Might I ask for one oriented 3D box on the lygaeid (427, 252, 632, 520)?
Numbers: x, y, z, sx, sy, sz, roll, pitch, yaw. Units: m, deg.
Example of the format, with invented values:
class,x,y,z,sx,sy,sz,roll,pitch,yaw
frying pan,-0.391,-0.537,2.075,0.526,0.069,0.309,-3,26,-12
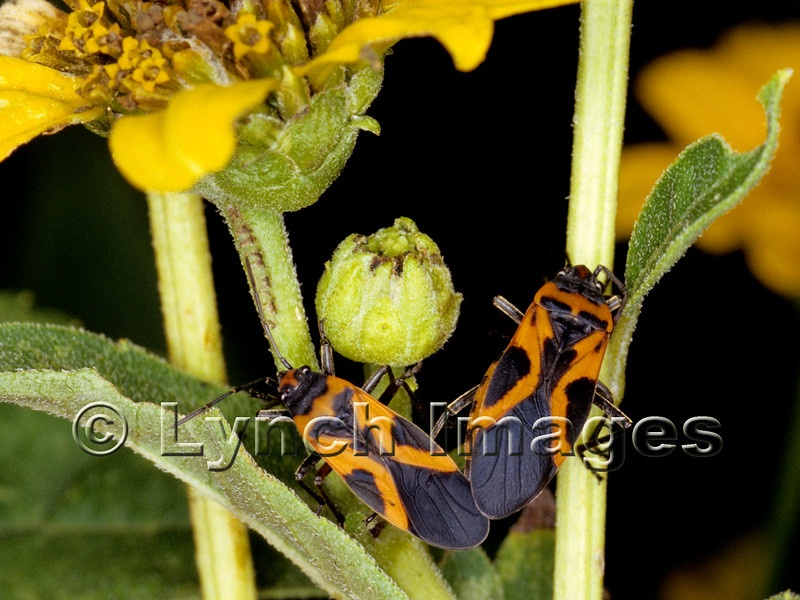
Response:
class,x,y,z,sx,sy,sz,roll,pitch,yaw
lygaeid,0.380,0.252,2.570,0.461,0.220,0.827,21,57,15
